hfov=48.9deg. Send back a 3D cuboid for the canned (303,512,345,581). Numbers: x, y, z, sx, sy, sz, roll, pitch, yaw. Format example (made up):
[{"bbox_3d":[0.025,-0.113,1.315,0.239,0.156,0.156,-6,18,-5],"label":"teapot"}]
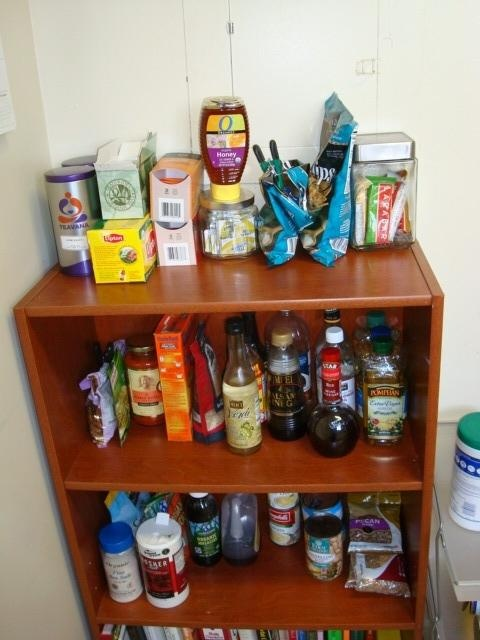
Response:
[{"bbox_3d":[0.175,0.483,1.110,0.099,0.148,0.094,-6,31,-3],"label":"canned"}]
